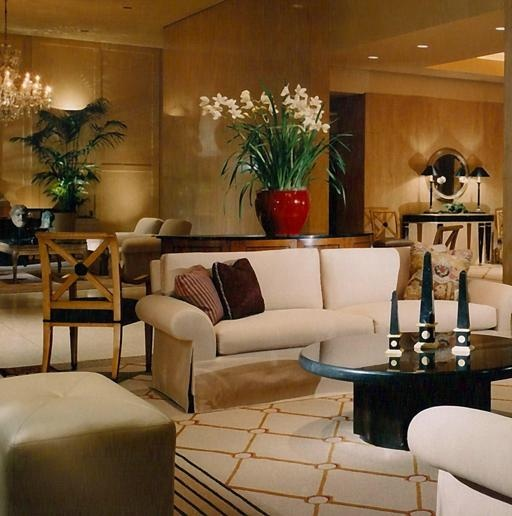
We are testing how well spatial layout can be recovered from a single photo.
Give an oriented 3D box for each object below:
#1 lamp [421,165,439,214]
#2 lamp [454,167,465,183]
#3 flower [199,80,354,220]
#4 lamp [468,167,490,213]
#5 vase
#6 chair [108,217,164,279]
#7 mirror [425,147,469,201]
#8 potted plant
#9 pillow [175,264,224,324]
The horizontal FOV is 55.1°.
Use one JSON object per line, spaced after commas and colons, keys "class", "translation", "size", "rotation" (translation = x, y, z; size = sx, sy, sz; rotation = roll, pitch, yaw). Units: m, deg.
{"class": "lamp", "translation": [3.518, -1.422, 9.920], "size": [0.250, 0.944, 0.459], "rotation": [2, 5, 38]}
{"class": "lamp", "translation": [4.303, -1.716, 10.289], "size": [0.256, 0.399, 0.280], "rotation": [-1, 3, 11]}
{"class": "flower", "translation": [0.210, -0.773, 3.825], "size": [0.689, 0.826, 0.867], "rotation": [-20, -8, 30]}
{"class": "lamp", "translation": [4.788, -1.482, 10.377], "size": [0.729, 0.980, 0.371], "rotation": [-4, 4, -37]}
{"class": "vase", "translation": [0.208, -0.369, 4.018], "size": [0.426, 0.380, 0.436], "rotation": [-1, 5, -24]}
{"class": "chair", "translation": [-1.773, -0.116, 7.034], "size": [0.505, 0.980, 0.899], "rotation": [0, 5, -34]}
{"class": "mirror", "translation": [3.901, -1.738, 10.099], "size": [1.004, 1.283, 0.122], "rotation": [-1, 1, -33]}
{"class": "potted plant", "translation": [-2.725, -1.284, 7.624], "size": [1.456, 2.285, 1.602], "rotation": [0, -3, 1]}
{"class": "pillow", "translation": [-0.308, 0.212, 2.940], "size": [0.217, 0.380, 0.474], "rotation": [-1, 1, 17]}
